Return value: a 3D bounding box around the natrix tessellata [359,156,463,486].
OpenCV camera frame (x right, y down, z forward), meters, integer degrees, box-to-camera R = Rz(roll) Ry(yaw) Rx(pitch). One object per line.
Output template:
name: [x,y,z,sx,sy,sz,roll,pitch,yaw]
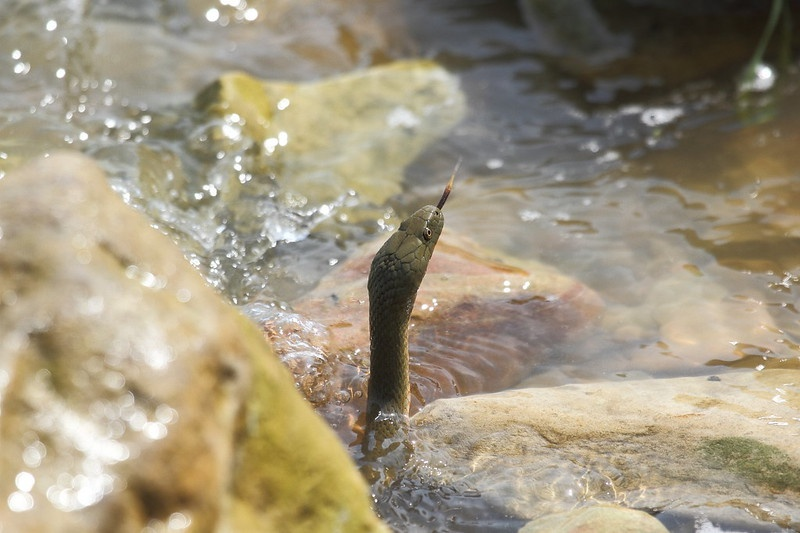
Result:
natrix tessellata: [-0.021,0.396,4.897,0.322,0.297,1.461,19,98,30]
